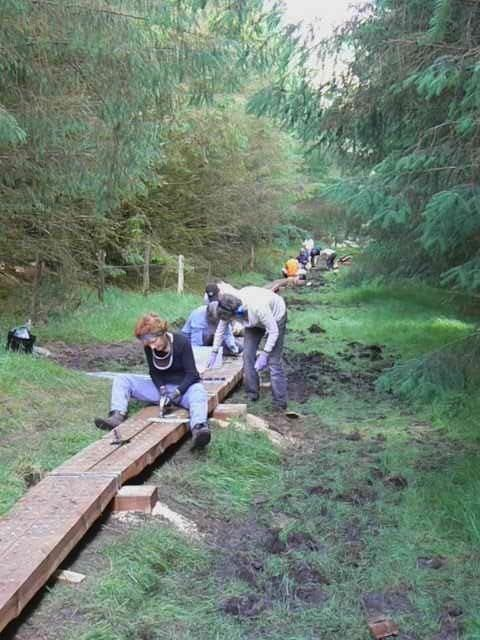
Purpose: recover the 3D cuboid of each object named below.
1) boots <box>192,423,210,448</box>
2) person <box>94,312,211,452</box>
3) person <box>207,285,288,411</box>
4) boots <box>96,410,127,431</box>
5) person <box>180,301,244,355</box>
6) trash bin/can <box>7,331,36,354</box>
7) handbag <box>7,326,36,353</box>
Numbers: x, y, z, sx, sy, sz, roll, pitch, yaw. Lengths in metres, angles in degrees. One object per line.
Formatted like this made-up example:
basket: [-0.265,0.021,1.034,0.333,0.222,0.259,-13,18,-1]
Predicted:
boots: [-0.334,0.994,5.055,0.101,0.111,0.257,8,-36,-12]
person: [-0.651,0.491,5.555,1.137,0.933,1.228,4,11,12]
person: [0.152,0.295,7.280,0.991,1.390,2.412,5,2,-1]
boots: [-1.184,0.912,5.460,0.259,0.165,0.346,4,2,-6]
person: [-0.429,0.076,8.767,0.907,0.663,0.700,-11,38,-45]
trash bin/can: [-2.958,0.310,8.151,0.369,0.233,0.279,4,2,-15]
handbag: [-2.899,0.277,8.196,0.419,0.370,0.318,4,0,4]
